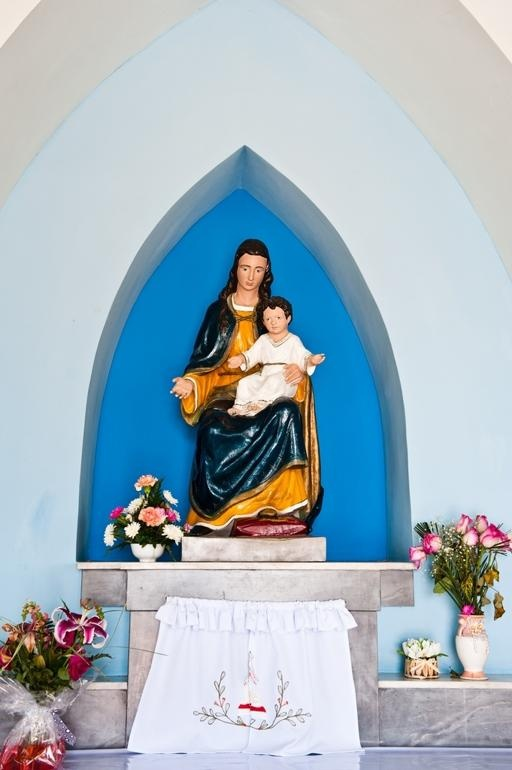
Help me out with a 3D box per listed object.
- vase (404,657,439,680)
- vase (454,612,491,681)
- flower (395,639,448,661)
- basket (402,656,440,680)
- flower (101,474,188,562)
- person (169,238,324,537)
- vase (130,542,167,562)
[{"bbox_3d":[0.867,1.480,4.584,0.132,0.081,0.133,1,-12,-4],"label":"vase"},{"bbox_3d":[1.114,1.376,4.580,0.142,0.328,0.178,13,-19,-39],"label":"vase"},{"bbox_3d":[0.867,1.394,4.624,0.163,0.071,0.143,3,-9,-22],"label":"flower"},{"bbox_3d":[0.868,1.474,4.565,0.132,0.080,0.133,1,-11,-3],"label":"basket"},{"bbox_3d":[-0.550,0.715,4.737,0.470,0.481,0.504,-1,-8,12],"label":"flower"},{"bbox_3d":[-0.055,0.020,4.918,0.756,1.673,0.559,1,-5,0],"label":"person"},{"bbox_3d":[-0.549,0.869,4.476,0.157,0.099,0.183,6,-16,-19],"label":"vase"}]
